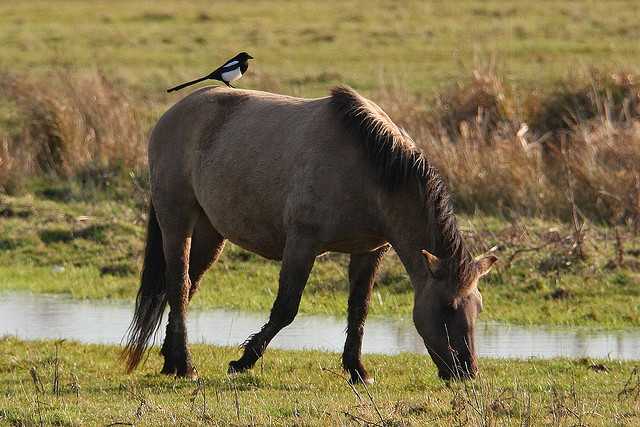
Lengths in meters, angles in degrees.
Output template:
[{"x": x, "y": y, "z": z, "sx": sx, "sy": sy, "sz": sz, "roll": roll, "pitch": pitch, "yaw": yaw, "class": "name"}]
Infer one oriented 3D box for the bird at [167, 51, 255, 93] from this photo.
[{"x": -2.230, "y": -2.861, "z": 27.987, "sx": 1.844, "sy": 0.850, "sz": 0.470, "roll": -11, "pitch": -15, "yaw": -1, "class": "bird"}]
